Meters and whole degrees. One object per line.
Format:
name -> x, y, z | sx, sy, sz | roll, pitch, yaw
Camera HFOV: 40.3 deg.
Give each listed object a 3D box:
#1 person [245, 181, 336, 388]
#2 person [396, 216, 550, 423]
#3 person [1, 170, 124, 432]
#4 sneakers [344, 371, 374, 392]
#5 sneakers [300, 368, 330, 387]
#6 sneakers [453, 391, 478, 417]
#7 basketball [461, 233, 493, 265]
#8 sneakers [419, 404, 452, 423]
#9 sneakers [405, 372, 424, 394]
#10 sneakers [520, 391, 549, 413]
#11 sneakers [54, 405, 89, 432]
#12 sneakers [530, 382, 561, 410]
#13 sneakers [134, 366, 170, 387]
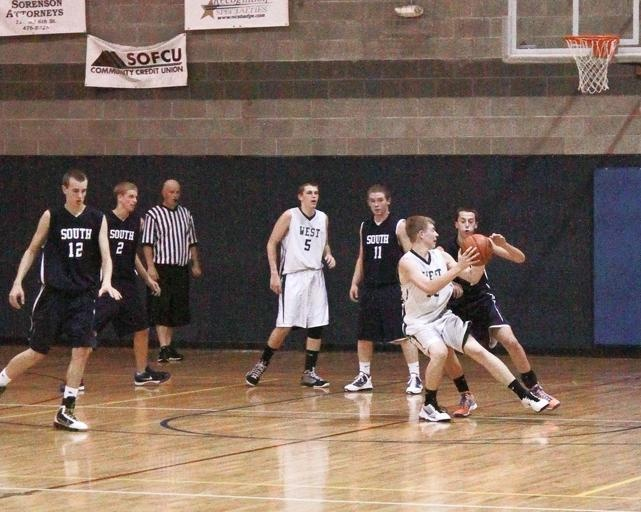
person -> -0.261, 0.319, 8.744 | 0.787, 2.063, 0.549 | 0, 9, -1
person -> 1.025, 0.502, 6.839 | 0.799, 1.595, 0.748 | -7, 12, -38
person -> -2.000, 0.360, 6.778 | 0.848, 2.024, 0.688 | -2, 10, -14
sneakers -> 0.378, 1.225, 8.492 | 0.346, 0.214, 0.126 | 2, -4, -19
sneakers -> -0.068, 1.223, 8.774 | 0.368, 0.184, 0.125 | -2, -3, 31
sneakers -> 1.180, 1.208, 7.098 | 0.102, 0.153, 0.299 | -5, -7, 23
basketball -> 1.220, -0.037, 6.736 | 0.225, 0.216, 0.412 | 1, 10, 3
sneakers -> 0.893, 1.231, 6.883 | 0.261, 0.129, 0.107 | -4, -1, 37
sneakers -> 0.897, 1.214, 8.357 | 0.154, 0.203, 0.457 | -2, -8, 10
sneakers -> 1.681, 1.147, 6.873 | 0.115, 0.110, 0.231 | -30, 16, -20
sneakers -> -1.914, 1.246, 6.759 | 0.338, 0.223, 0.126 | 5, -2, 9
sneakers -> 1.878, 1.170, 7.293 | 0.089, 0.120, 0.268 | -45, 34, -4
sneakers -> -1.721, 1.225, 8.935 | 0.356, 0.194, 0.162 | -3, 2, -13
